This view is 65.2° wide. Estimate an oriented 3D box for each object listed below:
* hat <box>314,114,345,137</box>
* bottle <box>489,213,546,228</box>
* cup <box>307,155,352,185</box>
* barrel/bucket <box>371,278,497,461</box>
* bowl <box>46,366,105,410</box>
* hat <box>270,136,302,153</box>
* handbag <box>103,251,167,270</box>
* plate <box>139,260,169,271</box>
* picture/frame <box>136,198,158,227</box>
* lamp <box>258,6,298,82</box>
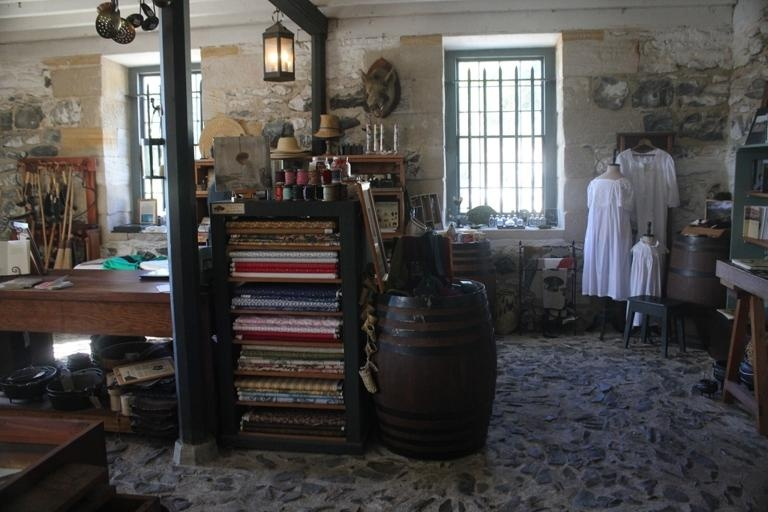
[{"bbox_3d":[-0.672,-1.548,7.119,0.310,0.295,0.275,-2,7,4],"label":"hat"},{"bbox_3d":[1.667,-0.440,7.548,0.667,0.163,0.349,-1,7,11],"label":"bottle"},{"bbox_3d":[-0.444,-0.673,4.650,0.328,0.215,0.313,0,8,0],"label":"cup"},{"bbox_3d":[0.436,0.916,4.782,1.115,1.066,1.087,-2,-2,0],"label":"barrel/bucket"},{"bbox_3d":[-2.448,1.053,4.819,0.418,0.127,0.317,-1,13,-26],"label":"bowl"},{"bbox_3d":[-1.156,-1.306,7.049,0.298,0.221,0.301,-5,8,-18],"label":"hat"},{"bbox_3d":[-2.627,0.059,6.277,0.415,0.113,0.394,-1,5,-24],"label":"handbag"},{"bbox_3d":[-2.200,0.088,5.797,0.294,0.061,0.264,1,5,8],"label":"plate"},{"bbox_3d":[-3.246,-0.615,8.309,0.260,0.346,0.167,-4,8,-8],"label":"picture/frame"},{"bbox_3d":[-0.998,-1.957,5.695,0.289,0.569,0.257,-5,8,-11],"label":"lamp"}]
